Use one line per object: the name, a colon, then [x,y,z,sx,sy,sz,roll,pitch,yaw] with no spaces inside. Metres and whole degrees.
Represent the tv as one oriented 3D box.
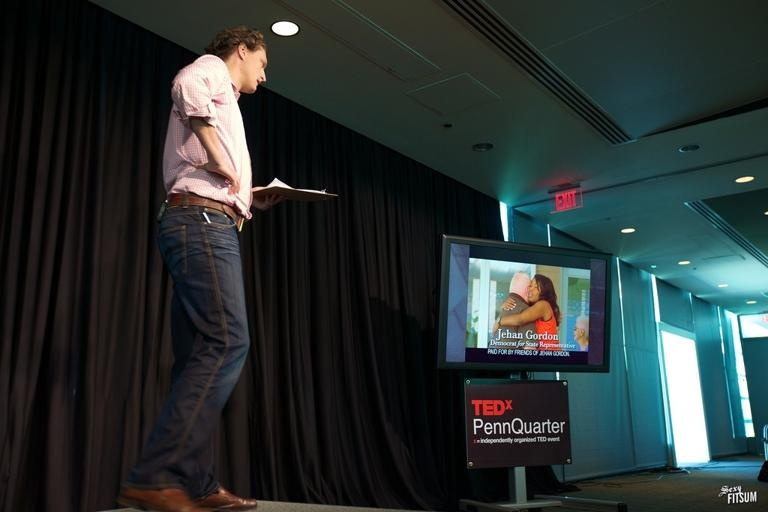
tv: [1.228,0.463,4.983,1.238,0.845,0.056,3,-6,-11]
